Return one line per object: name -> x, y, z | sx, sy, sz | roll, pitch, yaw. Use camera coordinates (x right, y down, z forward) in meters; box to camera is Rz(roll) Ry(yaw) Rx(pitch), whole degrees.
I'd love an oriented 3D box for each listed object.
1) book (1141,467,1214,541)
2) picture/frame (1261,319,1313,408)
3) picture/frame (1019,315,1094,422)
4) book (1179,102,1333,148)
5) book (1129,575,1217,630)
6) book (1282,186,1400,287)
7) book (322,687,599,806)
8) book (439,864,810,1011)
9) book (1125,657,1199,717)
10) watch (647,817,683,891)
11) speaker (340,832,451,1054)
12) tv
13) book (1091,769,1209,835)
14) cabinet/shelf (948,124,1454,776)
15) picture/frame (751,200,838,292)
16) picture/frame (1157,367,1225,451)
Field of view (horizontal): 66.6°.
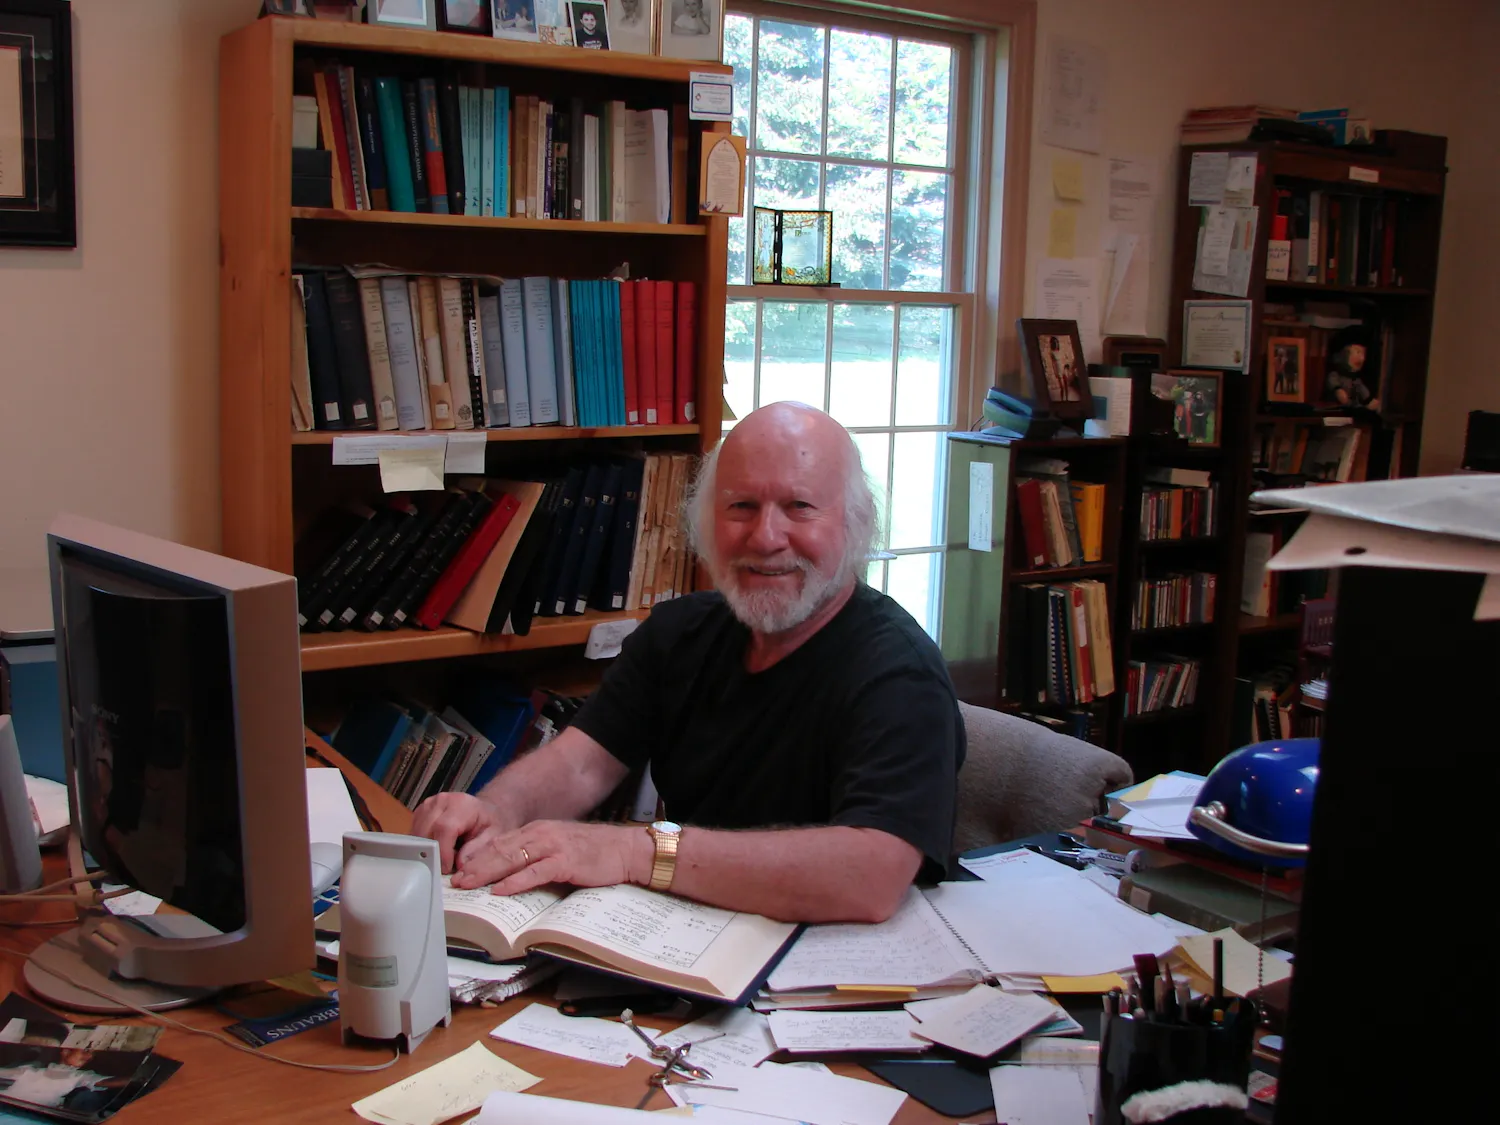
book -> 1.530, -0.195, 4.076 | 0.236, 0.211, 0.136 | -5, 21, -14
picture/frame -> 2.026, -0.721, 4.280 | 0.018, 0.253, 0.190 | -9, 13, -24
picture/frame -> 1.033, -0.634, 3.812 | 0.152, 0.346, 0.331 | 10, 11, 44
book -> 1.843, -1.551, 4.096 | 0.289, 0.087, 0.299 | -11, 18, -35
book -> 1.533, 0.145, 4.120 | 0.433, 0.189, 0.079 | -4, 10, -37
book -> 2.208, -1.230, 4.303 | 0.422, 0.390, 0.223 | -4, 3, -39
book -> -0.715, 0.434, 2.797 | 0.328, 0.139, 0.430 | 18, 5, 38
book -> -0.189, 0.485, 1.536 | 0.468, 0.061, 0.209 | 4, 8, 16
book -> 1.493, 0.446, 4.142 | 0.259, 0.082, 0.196 | -4, 6, -34
watch -> -0.105, 0.414, 1.626 | 0.054, 0.077, 0.082 | 6, -3, 7
speaker -> -0.430, 0.453, 1.365 | 0.125, 0.235, 0.084 | 1, 8, -2
tv -> -0.762, 0.260, 1.421 | 0.460, 0.584, 0.159 | 6, 9, 28
book -> 0.667, 0.402, 1.881 | 0.123, 0.032, 0.124 | -6, 10, -28
cabinet/shelf -> 1.667, -0.218, 4.287 | 1.657, 2.647, 0.408 | -8, 22, -13
picture/frame -> 0.126, -0.963, 3.501 | 0.315, 0.245, 0.041 | -3, 12, -26
picture/frame -> 1.560, -0.533, 4.049 | 0.331, 0.334, 0.036 | -1, 5, -5
